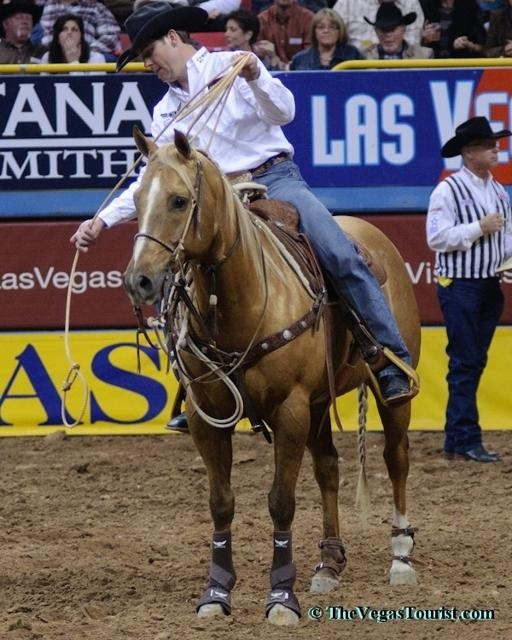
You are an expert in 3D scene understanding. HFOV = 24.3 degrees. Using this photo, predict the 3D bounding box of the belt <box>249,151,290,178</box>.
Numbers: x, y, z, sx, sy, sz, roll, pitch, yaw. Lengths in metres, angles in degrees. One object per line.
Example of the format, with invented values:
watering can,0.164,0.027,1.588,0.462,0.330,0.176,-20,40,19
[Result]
belt,0.076,-0.758,5.975,0.163,0.036,0.142,-26,-1,-19

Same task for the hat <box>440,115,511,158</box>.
hat,1.465,-1.177,8.106,0.407,0.128,0.314,-20,-11,28

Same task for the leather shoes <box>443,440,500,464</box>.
leather shoes,1.485,0.917,8.158,0.381,0.112,0.123,0,-6,17

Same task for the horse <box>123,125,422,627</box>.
horse,0.101,0.330,6.129,1.012,2.159,3.269,-3,-4,22
